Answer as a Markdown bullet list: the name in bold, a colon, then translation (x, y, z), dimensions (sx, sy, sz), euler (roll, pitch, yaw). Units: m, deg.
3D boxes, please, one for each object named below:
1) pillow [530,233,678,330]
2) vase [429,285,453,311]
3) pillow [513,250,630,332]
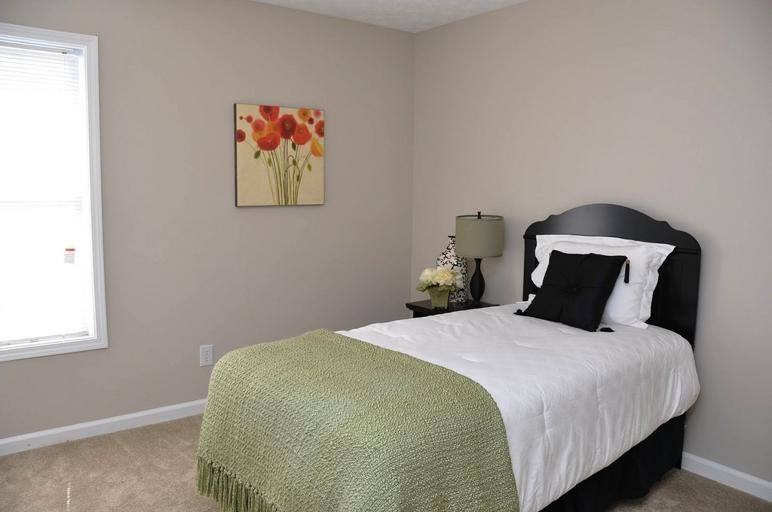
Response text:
- **pillow**: translation (1.304, 0.210, 3.499), dimensions (0.516, 0.592, 0.172), euler (17, -22, 28)
- **vase**: translation (0.439, 0.345, 4.129), dimensions (0.186, 0.180, 0.177), euler (0, -1, -33)
- **pillow**: translation (1.260, 0.224, 3.339), dimensions (0.151, 0.511, 0.532), euler (29, -7, -36)
